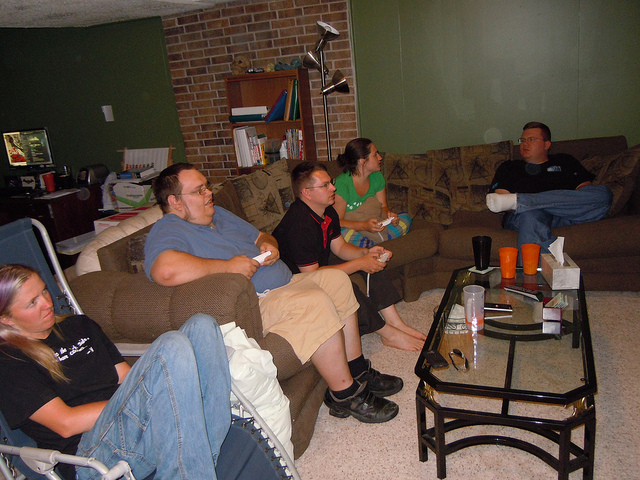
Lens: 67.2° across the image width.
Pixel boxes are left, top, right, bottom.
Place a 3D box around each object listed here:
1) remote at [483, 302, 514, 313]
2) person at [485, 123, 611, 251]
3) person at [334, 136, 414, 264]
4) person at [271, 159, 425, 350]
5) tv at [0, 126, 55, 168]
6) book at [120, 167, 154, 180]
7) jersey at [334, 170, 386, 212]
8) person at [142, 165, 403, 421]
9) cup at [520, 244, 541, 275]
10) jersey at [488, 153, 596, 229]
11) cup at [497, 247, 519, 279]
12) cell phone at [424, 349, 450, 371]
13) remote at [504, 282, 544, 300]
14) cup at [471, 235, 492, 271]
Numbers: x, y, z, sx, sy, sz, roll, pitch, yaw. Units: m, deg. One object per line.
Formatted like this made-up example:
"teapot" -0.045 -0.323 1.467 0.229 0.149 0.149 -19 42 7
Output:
"remote" 0.946 0.349 2.553 0.150 0.048 0.107 1 19 16
"person" 1.669 -0.299 3.623 0.835 1.259 0.996 -1 2 36
"person" 0.405 -0.266 3.594 0.627 0.801 0.702 10 39 23
"person" 0.229 0.108 2.971 1.023 1.076 0.528 9 26 14
"tv" -3.083 -0.966 5.087 0.567 0.391 0.071 1 19 16
"book" -1.829 -0.656 4.753 0.187 0.045 0.190 0 21 14
"jersey" 0.287 -0.363 3.612 0.144 0.204 0.293 20 39 42
"person" -0.216 0.250 2.698 1.260 1.458 0.971 -6 6 15
"cup" 1.206 0.111 2.779 0.093 0.189 0.063 5 21 28
"jersey" 1.734 -0.503 3.785 0.667 0.259 0.656 2 59 19
"cup" 1.098 0.119 2.825 0.091 0.189 0.152 2 19 20
"cell phone" 0.525 0.550 2.205 0.083 0.063 0.130 -8 18 -10
"remote" 1.112 0.276 2.639 0.109 0.026 0.080 20 19 33
"cup" 0.974 0.071 2.916 0.104 0.214 0.141 1 19 17
